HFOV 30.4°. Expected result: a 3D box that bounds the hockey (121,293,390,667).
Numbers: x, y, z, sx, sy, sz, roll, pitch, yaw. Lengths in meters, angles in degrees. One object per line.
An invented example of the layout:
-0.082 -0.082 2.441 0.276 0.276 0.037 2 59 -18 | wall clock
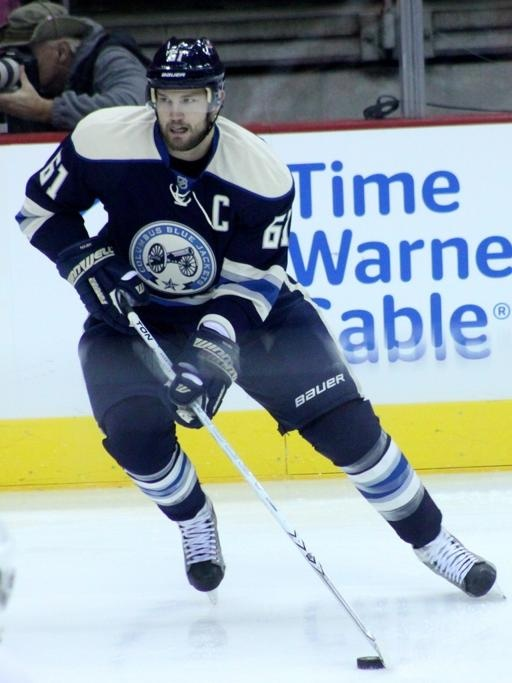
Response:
-0.015 0.332 2.118 0.089 0.911 0.129 -35 -20 -15 | hockey

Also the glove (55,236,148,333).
-0.300 -0.124 2.092 0.148 0.231 0.088 -44 -15 18 | glove

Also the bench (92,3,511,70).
0.182 -0.973 2.993 0.769 0.126 0.099 3 -16 14 | bench

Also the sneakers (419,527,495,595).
0.433 0.473 2.015 0.084 0.114 0.249 -50 1 -1 | sneakers

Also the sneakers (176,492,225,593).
-0.124 0.440 2.080 0.077 0.213 0.097 -16 -28 11 | sneakers

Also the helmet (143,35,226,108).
-0.141 -0.577 1.986 0.190 0.136 0.168 -16 29 -33 | helmet
